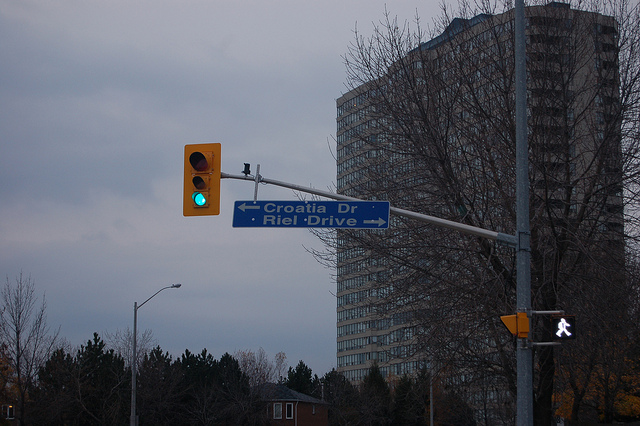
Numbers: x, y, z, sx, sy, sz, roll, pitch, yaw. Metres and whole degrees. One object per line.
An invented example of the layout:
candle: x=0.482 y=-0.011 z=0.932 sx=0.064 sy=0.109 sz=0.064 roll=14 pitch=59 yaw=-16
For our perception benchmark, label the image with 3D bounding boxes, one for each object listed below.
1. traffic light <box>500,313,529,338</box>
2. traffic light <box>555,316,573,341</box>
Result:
traffic light: x=7.329 y=4.160 z=41.112 sx=0.943 sy=0.891 sz=0.319 roll=-4 pitch=-14 yaw=11
traffic light: x=9.100 y=4.267 z=41.104 sx=0.813 sy=1.029 sz=0.102 roll=-1 pitch=-8 yaw=4
